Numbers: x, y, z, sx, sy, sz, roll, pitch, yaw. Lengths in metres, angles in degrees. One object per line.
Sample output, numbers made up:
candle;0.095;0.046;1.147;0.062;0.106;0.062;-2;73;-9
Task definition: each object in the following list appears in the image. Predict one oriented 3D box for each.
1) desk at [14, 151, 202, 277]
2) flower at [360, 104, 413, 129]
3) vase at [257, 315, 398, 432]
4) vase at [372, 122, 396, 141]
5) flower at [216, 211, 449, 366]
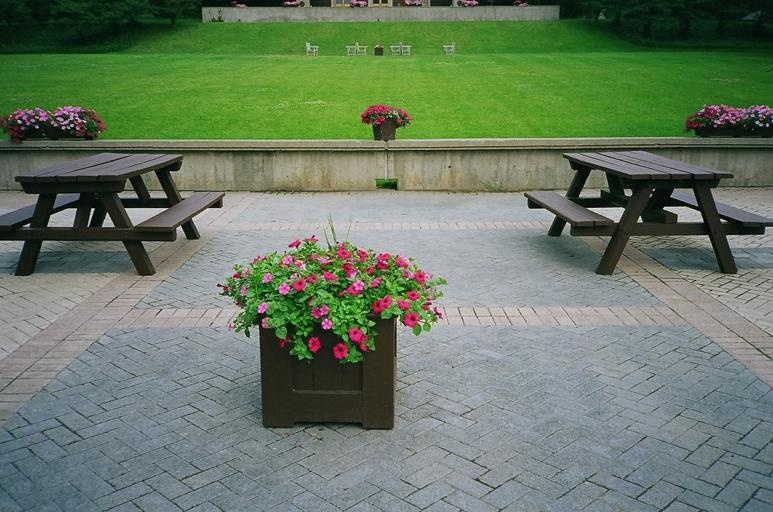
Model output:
desk;-4.247;-0.725;8.615;2.643;1.490;2.202;1;26;2
flower;-0.006;-3.259;13.132;1.324;0.395;1.061;1;14;0
vase;-0.519;1.006;5.253;1.427;0.678;1.143;0;3;-2
vase;-0.043;-2.887;12.883;0.641;0.302;0.402;1;12;-2
flower;-0.400;0.340;5.218;2.074;0.832;1.460;1;21;-1
